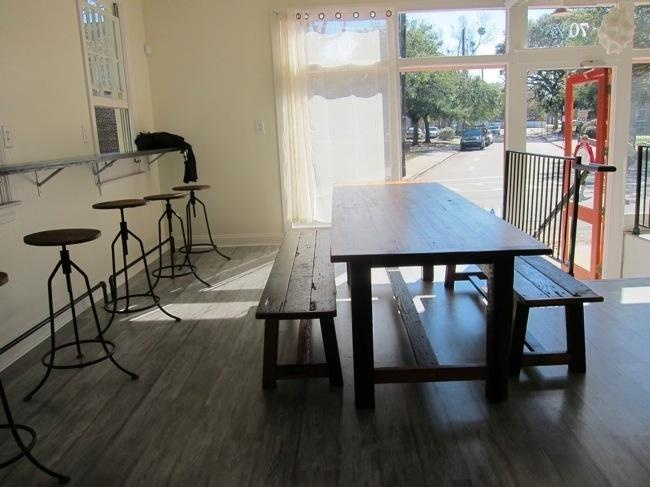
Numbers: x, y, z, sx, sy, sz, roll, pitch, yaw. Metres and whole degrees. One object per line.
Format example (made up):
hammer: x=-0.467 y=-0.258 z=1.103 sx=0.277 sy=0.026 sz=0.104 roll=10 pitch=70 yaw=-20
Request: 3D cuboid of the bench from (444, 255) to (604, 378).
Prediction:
bench: x=1.372 y=0.354 z=3.217 sx=0.426 sy=0.449 sz=1.546 roll=4 pitch=13 yaw=9

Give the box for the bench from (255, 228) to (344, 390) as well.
bench: x=-0.131 y=0.368 z=3.222 sx=0.447 sy=0.490 sz=1.613 roll=-2 pitch=17 yaw=2
